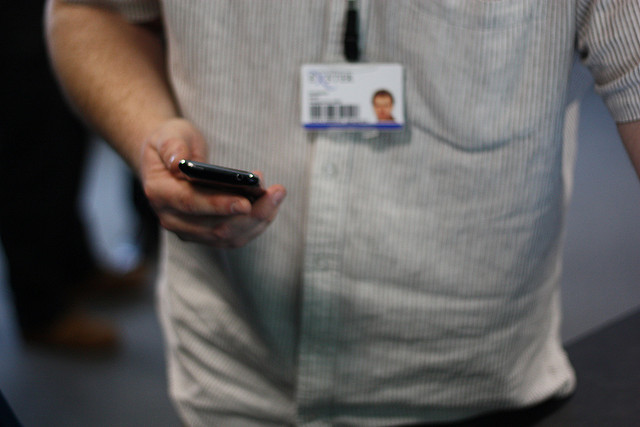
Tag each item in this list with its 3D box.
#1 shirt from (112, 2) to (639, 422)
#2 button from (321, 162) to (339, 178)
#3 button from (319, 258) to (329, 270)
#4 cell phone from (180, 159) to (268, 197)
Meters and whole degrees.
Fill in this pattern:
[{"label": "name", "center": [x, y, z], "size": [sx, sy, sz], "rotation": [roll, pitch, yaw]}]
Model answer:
[{"label": "shirt", "center": [0.085, -0.019, 0.813], "size": [0.574, 0.151, 0.347], "rotation": [0, 103, 3]}, {"label": "button", "center": [0.014, -0.061, 0.807], "size": [0.022, 0.016, 0.014], "rotation": [-13, 56, -10]}, {"label": "button", "center": [0.005, 0.073, 0.822], "size": [0.014, 0.003, 0.014], "rotation": [7, 98, 2]}, {"label": "cell phone", "center": [-0.126, -0.043, 0.717], "size": [0.097, 0.173, 0.019], "rotation": [11, 89, 3]}]
